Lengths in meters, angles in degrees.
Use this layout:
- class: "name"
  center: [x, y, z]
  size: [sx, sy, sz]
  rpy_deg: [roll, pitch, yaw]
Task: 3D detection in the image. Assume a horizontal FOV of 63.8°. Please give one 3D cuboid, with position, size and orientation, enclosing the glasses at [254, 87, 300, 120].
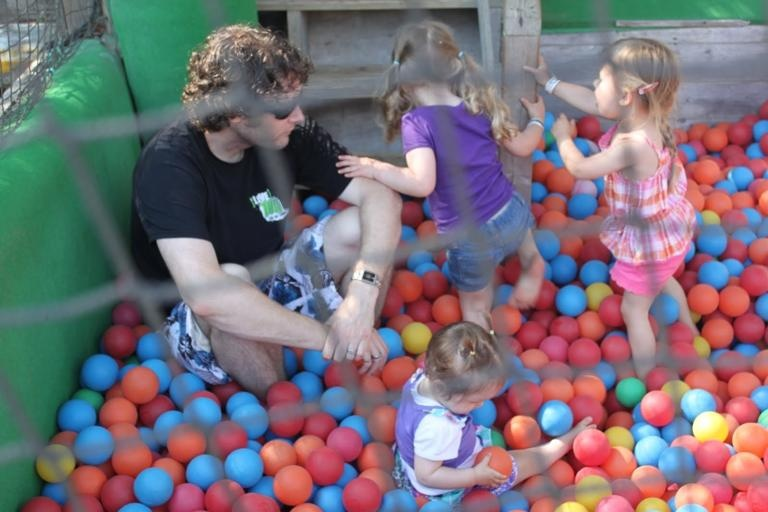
- class: "glasses"
  center: [-0.343, -0.469, 2.004]
  size: [0.101, 0.034, 0.105]
  rpy_deg: [-5, -3, 25]

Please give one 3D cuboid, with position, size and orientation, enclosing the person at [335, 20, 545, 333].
- class: "person"
  center: [0.327, -0.188, 2.625]
  size: [0.855, 1.482, 0.525]
  rpy_deg: [-13, 20, 0]

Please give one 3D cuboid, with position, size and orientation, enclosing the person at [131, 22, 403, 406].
- class: "person"
  center: [-0.430, -0.038, 2.367]
  size: [0.819, 1.535, 0.963]
  rpy_deg: [-9, 35, -15]

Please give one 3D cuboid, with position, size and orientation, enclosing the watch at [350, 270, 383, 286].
- class: "watch"
  center: [-0.062, 0.086, 2.161]
  size: [0.079, 0.053, 0.076]
  rpy_deg: [12, -16, -25]
